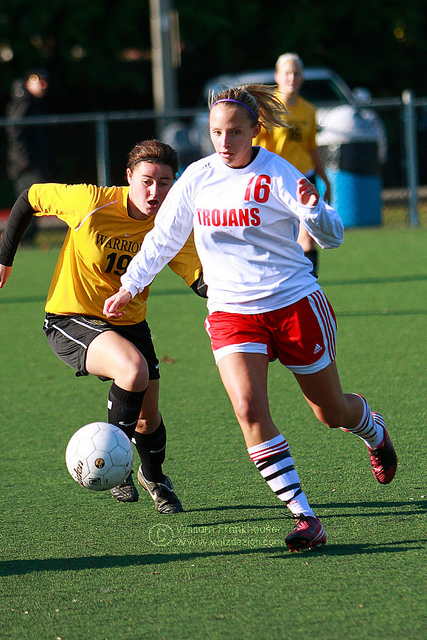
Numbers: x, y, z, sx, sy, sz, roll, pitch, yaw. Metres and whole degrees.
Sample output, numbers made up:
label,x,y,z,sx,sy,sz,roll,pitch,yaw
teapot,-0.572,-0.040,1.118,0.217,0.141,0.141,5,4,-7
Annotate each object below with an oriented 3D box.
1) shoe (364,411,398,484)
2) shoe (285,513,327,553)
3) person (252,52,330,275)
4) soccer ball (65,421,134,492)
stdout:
label,x,y,z,sx,sy,sz,roll,pitch,yaw
shoe,0.704,0.539,2.902,0.121,0.125,0.322,-17,39,21
shoe,0.308,0.701,2.273,0.119,0.117,0.164,-2,4,13
person,0.874,-1.464,7.004,0.705,2.188,0.834,-5,14,-15
soccer ball,-0.414,0.515,2.572,0.260,0.210,0.215,-29,54,-37
